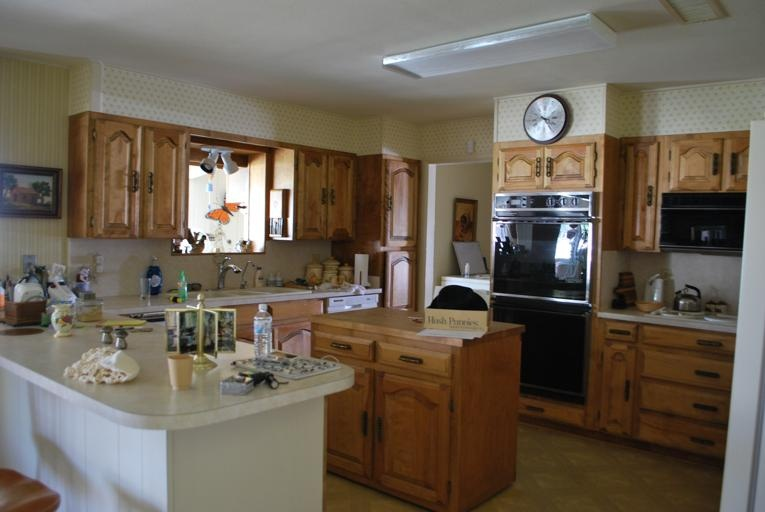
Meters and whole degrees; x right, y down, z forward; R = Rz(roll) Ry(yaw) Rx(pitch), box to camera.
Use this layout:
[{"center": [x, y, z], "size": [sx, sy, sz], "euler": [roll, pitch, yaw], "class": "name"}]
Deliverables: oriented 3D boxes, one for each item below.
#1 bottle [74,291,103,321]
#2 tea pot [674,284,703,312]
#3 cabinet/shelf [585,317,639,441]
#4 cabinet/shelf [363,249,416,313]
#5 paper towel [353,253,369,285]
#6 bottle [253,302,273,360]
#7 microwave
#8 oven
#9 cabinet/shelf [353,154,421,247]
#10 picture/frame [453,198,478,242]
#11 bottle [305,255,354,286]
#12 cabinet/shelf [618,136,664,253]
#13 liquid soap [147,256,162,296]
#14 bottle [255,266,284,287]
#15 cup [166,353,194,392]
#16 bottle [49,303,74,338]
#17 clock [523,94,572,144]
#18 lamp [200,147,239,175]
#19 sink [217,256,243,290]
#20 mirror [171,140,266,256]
[{"center": [-2.197, 0.367, 4.348], "size": [0.216, 0.207, 0.212], "euler": [-1, 4, -35], "class": "bottle"}, {"center": [2.985, 0.403, 5.699], "size": [0.279, 0.261, 0.273], "euler": [0, 0, 0], "class": "tea pot"}, {"center": [2.251, 1.229, 5.710], "size": [0.630, 1.072, 0.613], "euler": [12, -17, -10], "class": "cabinet/shelf"}, {"center": [0.160, 0.286, 7.282], "size": [0.716, 0.820, 0.254], "euler": [-5, 12, -41], "class": "cabinet/shelf"}, {"center": [-0.252, 0.164, 7.077], "size": [0.238, 0.369, 0.170], "euler": [6, 10, 20], "class": "paper towel"}, {"center": [-0.754, 0.449, 3.660], "size": [0.106, 0.294, 0.479], "euler": [1, 9, -12], "class": "bottle"}, {"center": [3.184, -0.337, 5.508], "size": [0.521, 0.580, 0.755], "euler": [-11, 12, -37], "class": "microwave"}, {"center": [1.697, 0.477, 6.111], "size": [1.157, 2.217, 0.839], "euler": [2, -7, 31], "class": "oven"}, {"center": [0.021, -0.617, 7.409], "size": [0.690, 1.278, 0.818], "euler": [5, 5, 44], "class": "cabinet/shelf"}, {"center": [1.311, -0.591, 9.263], "size": [0.058, 0.721, 0.761], "euler": [-1, -2, 36], "class": "picture/frame"}, {"center": [-0.627, 0.170, 7.050], "size": [0.405, 0.235, 0.393], "euler": [-1, 2, 0], "class": "bottle"}, {"center": [2.551, -0.605, 5.748], "size": [0.351, 1.047, 0.101], "euler": [-1, 6, -4], "class": "cabinet/shelf"}, {"center": [-2.295, 0.201, 5.830], "size": [0.147, 0.365, 0.218], "euler": [-1, 10, -20], "class": "liquid soap"}, {"center": [-1.322, 0.236, 6.746], "size": [0.344, 0.236, 0.192], "euler": [-2, 10, -25], "class": "bottle"}, {"center": [-1.094, 0.621, 3.037], "size": [0.181, 0.162, 0.146], "euler": [2, -5, -41], "class": "cup"}, {"center": [-2.170, 0.438, 3.925], "size": [0.160, 0.198, 0.171], "euler": [-1, -2, 13], "class": "bottle"}, {"center": [1.666, -1.363, 5.766], "size": [0.439, 0.450, 0.063], "euler": [24, 17, 34], "class": "clock"}, {"center": [-1.737, -1.000, 6.111], "size": [0.135, 0.251, 0.359], "euler": [9, 10, 43], "class": "lamp"}, {"center": [-1.691, 0.177, 6.419], "size": [0.256, 0.341, 0.287], "euler": [0, 9, -14], "class": "sink"}, {"center": [-1.723, -0.764, 6.735], "size": [1.306, 1.153, 0.472], "euler": [0, 4, -34], "class": "mirror"}]
